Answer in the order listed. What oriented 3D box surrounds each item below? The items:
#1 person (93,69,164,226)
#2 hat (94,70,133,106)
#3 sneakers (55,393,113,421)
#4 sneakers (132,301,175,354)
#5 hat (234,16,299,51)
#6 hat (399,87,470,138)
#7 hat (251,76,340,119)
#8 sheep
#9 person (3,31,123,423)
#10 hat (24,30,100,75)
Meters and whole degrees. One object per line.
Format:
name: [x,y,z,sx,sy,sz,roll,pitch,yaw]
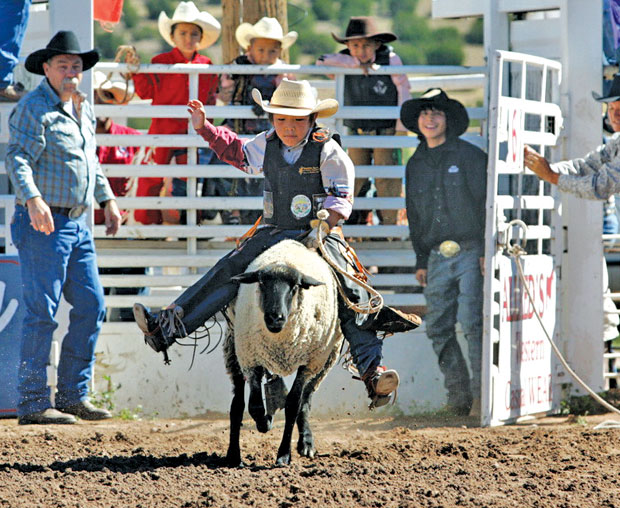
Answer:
person: [-1.929,-1.048,17.822,0.815,1.453,0.331,0,-1,-23]
hat: [-2.032,-1.650,18.095,0.186,0.318,0.328,4,-4,14]
sneakers: [-2.055,1.373,16.374,0.568,0.266,0.202,9,0,-8]
sneakers: [-1.357,0.657,15.582,0.208,0.615,0.243,-31,-23,26]
hat: [-0.486,-2.168,17.837,0.640,0.283,0.732,-4,-5,-7]
hat: [1.181,-1.330,16.963,0.508,0.205,0.488,24,-49,-8]
hat: [-0.096,-1.341,15.689,0.692,0.333,0.393,0,-1,-14]
sheep: [-0.260,0.921,15.843,0.942,1.940,2.410,3,-6,-3]
person: [-2.270,-0.217,16.117,0.622,3.505,1.047,0,-1,43]
hat: [-2.238,-1.816,16.119,0.647,0.306,0.794,0,-9,-9]
